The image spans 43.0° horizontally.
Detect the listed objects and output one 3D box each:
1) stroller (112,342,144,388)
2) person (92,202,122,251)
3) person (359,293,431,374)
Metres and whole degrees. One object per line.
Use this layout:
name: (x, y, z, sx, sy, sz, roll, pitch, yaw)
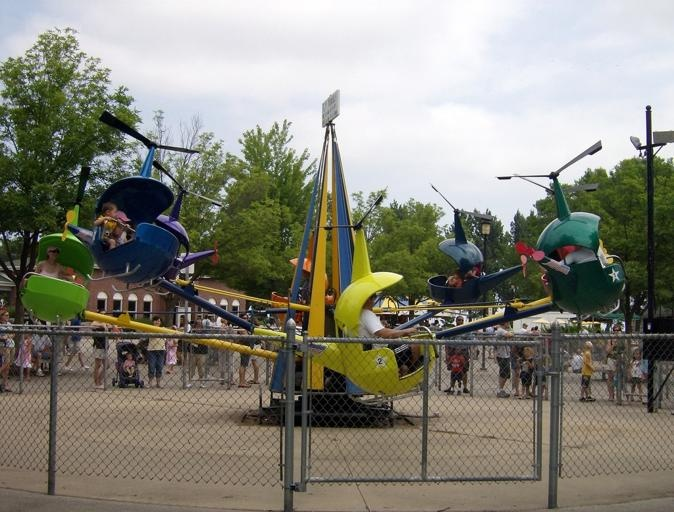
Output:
stroller: (-3.194, 1.682, 13.094, 0.432, 0.637, 0.949, 5, -18, -22)
person: (-3.688, -0.518, 13.897, 0.442, 0.763, 0.467, 2, -5, -5)
person: (0.829, 1.328, 13.631, 1.436, 1.416, 0.904, 0, -3, -6)
